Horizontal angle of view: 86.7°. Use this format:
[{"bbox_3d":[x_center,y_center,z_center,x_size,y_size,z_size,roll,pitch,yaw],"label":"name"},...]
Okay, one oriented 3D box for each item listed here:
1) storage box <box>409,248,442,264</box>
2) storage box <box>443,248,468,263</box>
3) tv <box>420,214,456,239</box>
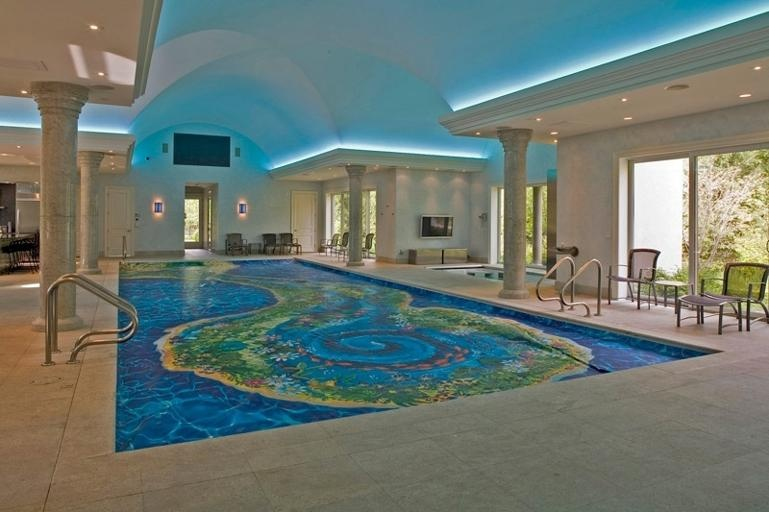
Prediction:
[{"bbox_3d":[1.759,-0.013,17.068,1.436,0.622,0.584,0,4,4],"label":"storage box"},{"bbox_3d":[3.072,-0.033,17.508,1.246,0.601,0.289,-3,5,-32],"label":"storage box"},{"bbox_3d":[2.223,-1.263,17.324,1.339,0.659,0.156,0,-1,-16],"label":"tv"}]
